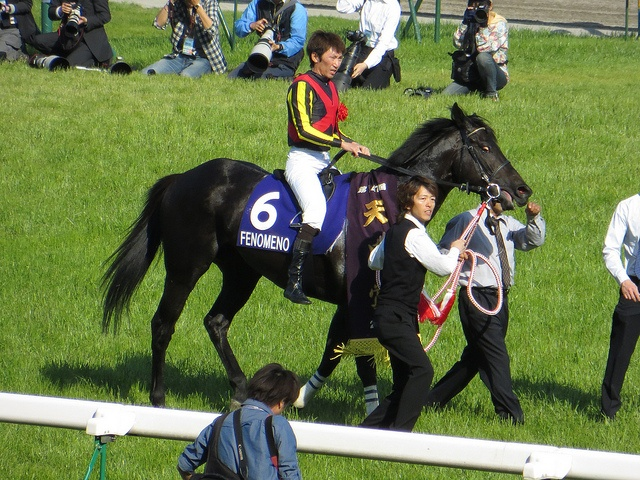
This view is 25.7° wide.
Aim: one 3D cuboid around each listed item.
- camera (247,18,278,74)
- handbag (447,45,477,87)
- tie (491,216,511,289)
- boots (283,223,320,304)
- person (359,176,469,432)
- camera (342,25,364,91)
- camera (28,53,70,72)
[{"bbox_3d":[-0.952,-3.138,23.269,0.296,0.308,0.869,4,36,9],"label":"camera"},{"bbox_3d":[2.356,-2.915,23.788,0.312,0.633,0.453,0,-1,2],"label":"handbag"},{"bbox_3d":[2.195,0.167,16.884,0.265,0.820,0.130,-4,-3,4],"label":"tie"},{"bbox_3d":[-0.222,0.302,16.511,0.359,0.958,0.380,5,19,3],"label":"boots"},{"bbox_3d":[1.012,0.783,16.002,0.892,2.814,1.050,0,19,-13],"label":"person"},{"bbox_3d":[0.510,-2.977,23.133,0.307,1.055,0.381,16,6,-4],"label":"camera"},{"bbox_3d":[-4.628,-3.008,24.006,0.675,0.266,0.291,6,61,37],"label":"camera"}]
